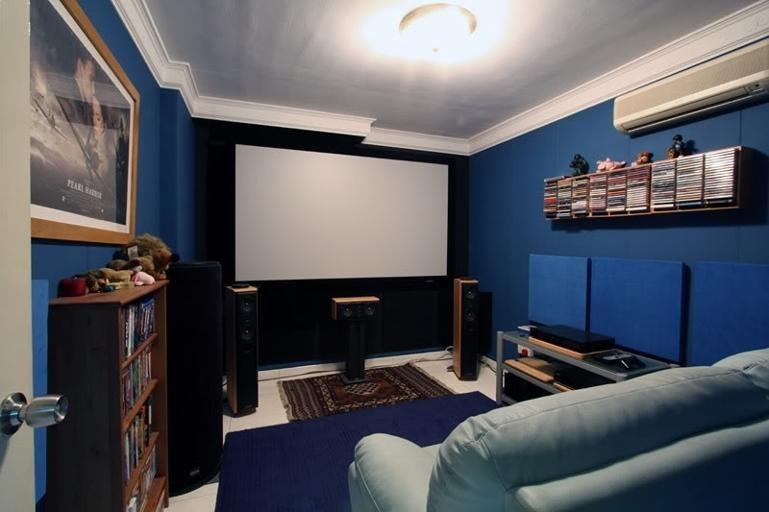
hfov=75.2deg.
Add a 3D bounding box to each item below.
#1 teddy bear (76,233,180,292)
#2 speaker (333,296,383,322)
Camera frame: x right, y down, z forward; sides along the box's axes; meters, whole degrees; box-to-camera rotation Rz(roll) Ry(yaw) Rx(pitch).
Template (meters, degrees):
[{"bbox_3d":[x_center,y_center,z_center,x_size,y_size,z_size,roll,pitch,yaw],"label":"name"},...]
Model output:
[{"bbox_3d":[-1.475,0.023,2.854,0.245,0.174,0.365,1,12,8],"label":"teddy bear"},{"bbox_3d":[-0.297,0.503,5.014,0.443,0.204,0.244,-3,13,-16],"label":"speaker"}]
